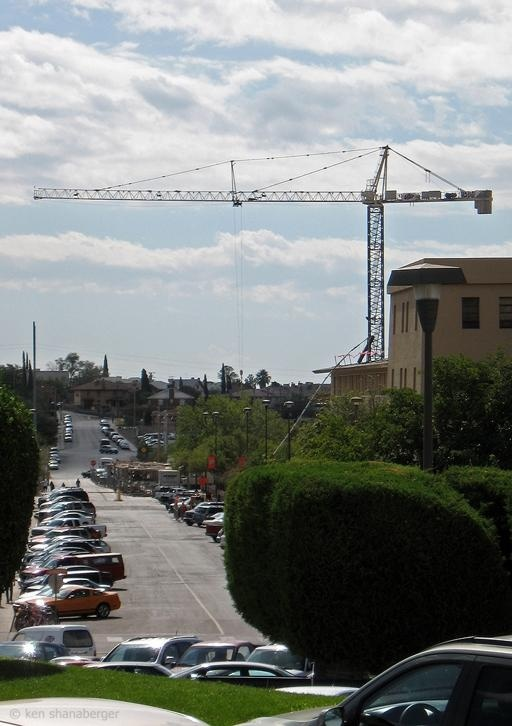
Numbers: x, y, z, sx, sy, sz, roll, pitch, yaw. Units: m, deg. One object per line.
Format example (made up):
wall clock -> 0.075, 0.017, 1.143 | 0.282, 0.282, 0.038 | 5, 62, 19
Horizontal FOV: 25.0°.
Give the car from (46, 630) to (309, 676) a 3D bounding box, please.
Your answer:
car -> -1.018, 5.690, 20.107 | 3.515, 1.202, 1.628 | 1, -7, 11
